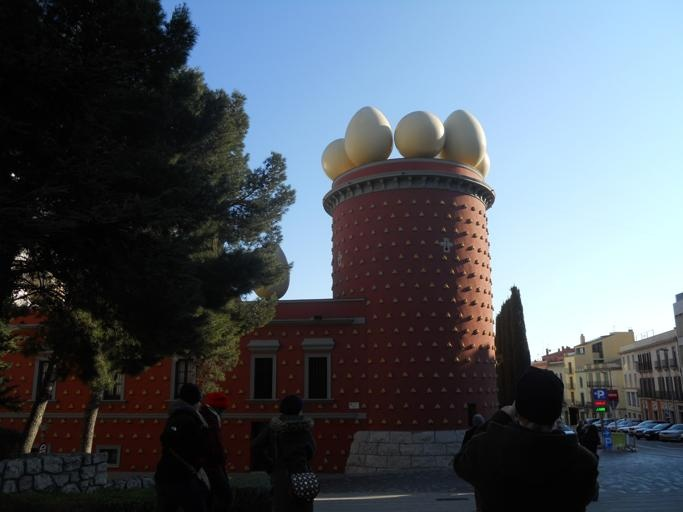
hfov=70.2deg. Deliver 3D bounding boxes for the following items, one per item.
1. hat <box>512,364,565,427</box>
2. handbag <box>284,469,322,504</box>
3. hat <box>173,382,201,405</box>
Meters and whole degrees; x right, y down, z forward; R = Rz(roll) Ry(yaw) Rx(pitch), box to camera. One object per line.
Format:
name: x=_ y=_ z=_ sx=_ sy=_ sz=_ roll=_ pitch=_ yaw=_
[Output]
hat: x=1.764 y=1.199 z=4.285 sx=0.357 sy=0.484 sz=0.468 roll=0 pitch=-8 yaw=21
handbag: x=-0.490 y=3.018 z=6.377 sx=0.392 sy=0.382 sz=0.224 roll=3 pitch=-20 yaw=-16
hat: x=-2.034 y=1.832 z=6.456 sx=0.225 sy=0.296 sz=0.322 roll=2 pitch=-22 yaw=-5
